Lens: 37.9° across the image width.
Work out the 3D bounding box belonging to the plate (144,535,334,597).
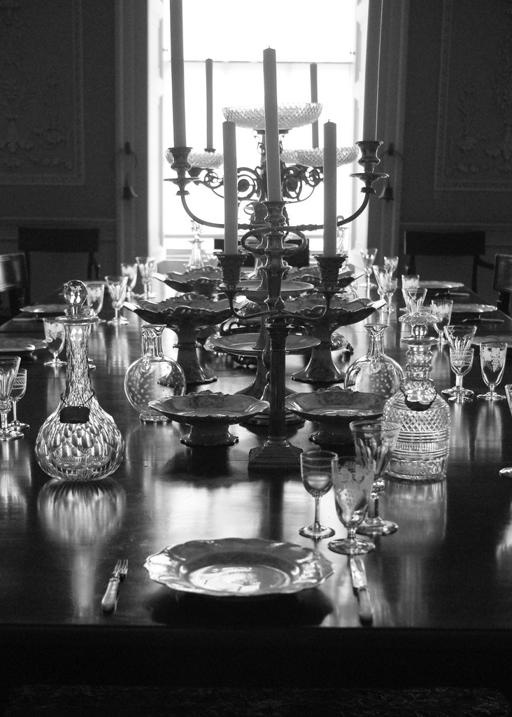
[{"bbox_3d":[-0.018,0.209,0.762,0.189,0.021,0.161,-1,9,-1],"label":"plate"}]

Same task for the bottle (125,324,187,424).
[{"bbox_3d":[-0.212,0.030,1.569,0.131,0.199,0.130,-5,0,0],"label":"bottle"}]
